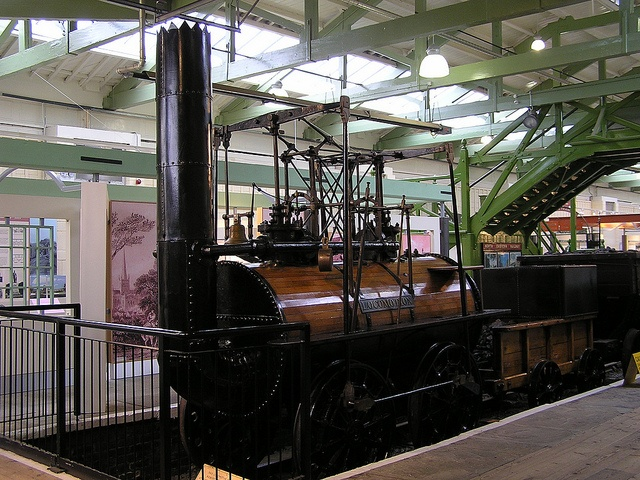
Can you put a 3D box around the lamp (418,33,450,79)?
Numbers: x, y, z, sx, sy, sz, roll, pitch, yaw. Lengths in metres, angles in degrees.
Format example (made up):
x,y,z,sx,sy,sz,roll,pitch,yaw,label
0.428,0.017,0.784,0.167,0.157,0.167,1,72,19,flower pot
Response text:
x,y,z,sx,sy,sz,roll,pitch,yaw,label
2.005,-3.149,9.992,0.418,0.643,0.656,0,1,16,lamp
